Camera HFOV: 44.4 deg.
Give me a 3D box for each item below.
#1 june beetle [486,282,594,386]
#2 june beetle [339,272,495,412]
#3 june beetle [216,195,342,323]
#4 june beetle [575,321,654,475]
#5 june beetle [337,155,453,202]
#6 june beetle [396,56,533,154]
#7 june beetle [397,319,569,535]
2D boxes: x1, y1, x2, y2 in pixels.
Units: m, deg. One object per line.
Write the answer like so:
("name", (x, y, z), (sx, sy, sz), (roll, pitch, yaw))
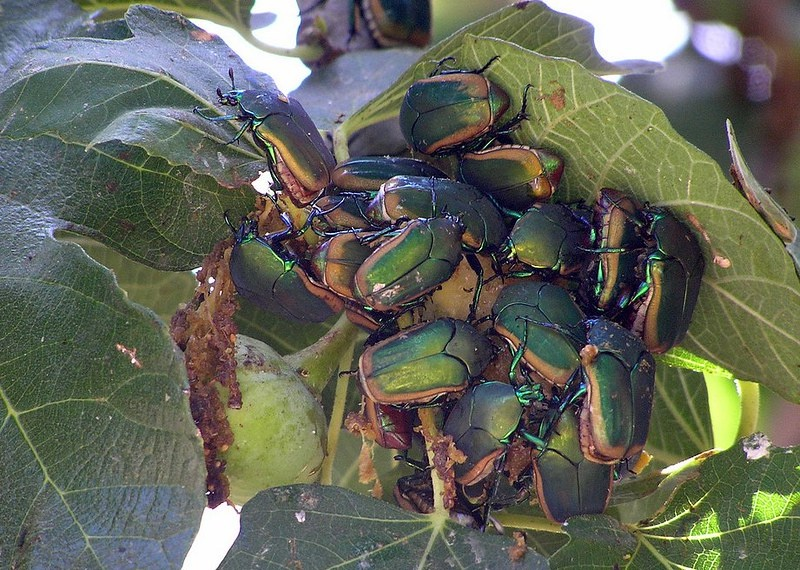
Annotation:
("june beetle", (0.247, 0.081, 1.749), (0.172, 0.105, 0.136), (18, 48, 7))
("june beetle", (0.026, 0.126, 1.694), (0.201, 0.063, 0.141), (-20, 69, 3))
("june beetle", (-0.214, -0.054, 1.855), (0.190, 0.181, 0.061), (41, 43, 6))
("june beetle", (0.400, 0.197, 1.760), (0.215, 0.072, 0.277), (12, 39, 3))
("june beetle", (-0.021, -0.224, 1.902), (0.138, 0.084, 0.273), (-11, 10, -38))
("june beetle", (0.123, -0.342, 1.845), (0.232, 0.180, 0.110), (9, 48, -1))
("june beetle", (0.161, 0.291, 1.771), (0.218, 0.292, 0.095), (37, 27, 15))
